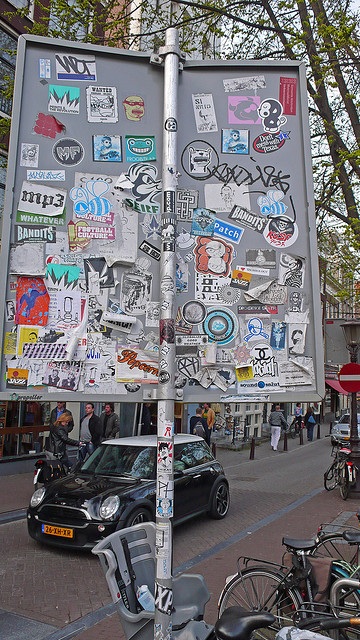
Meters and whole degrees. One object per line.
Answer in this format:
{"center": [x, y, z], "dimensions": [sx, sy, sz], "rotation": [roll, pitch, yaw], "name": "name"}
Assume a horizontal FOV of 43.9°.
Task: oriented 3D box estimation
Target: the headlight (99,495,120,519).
{"center": [-0.965, 2.534, 6.068], "dimensions": [0.266, 0.255, 0.223], "rotation": [3, -11, -11], "name": "headlight"}

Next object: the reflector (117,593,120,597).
{"center": [-0.294, 1.302, 2.119], "dimensions": [0.003, 0.020, 0.021], "rotation": [-4, -12, 24], "name": "reflector"}

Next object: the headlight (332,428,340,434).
{"center": [7.273, 5.154, 20.775], "dimensions": [0.357, 0.209, 0.513], "rotation": [4, 0, 6], "name": "headlight"}

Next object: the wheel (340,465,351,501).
{"center": [4.005, 3.889, 10.760], "dimensions": [0.221, 0.782, 0.272], "rotation": [-3, -11, 20], "name": "wheel"}

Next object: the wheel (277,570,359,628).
{"center": [0.994, 2.046, 3.233], "dimensions": [0.610, 0.419, 0.351], "rotation": [1, -11, 1], "name": "wheel"}

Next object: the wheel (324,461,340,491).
{"center": [3.949, 4.045, 11.605], "dimensions": [0.372, 0.776, 0.862], "rotation": [-2, -11, 17], "name": "wheel"}

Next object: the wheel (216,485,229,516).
{"center": [0.817, 3.514, 8.736], "dimensions": [0.179, 0.570, 0.537], "rotation": [-7, -28, 26], "name": "wheel"}

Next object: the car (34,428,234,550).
{"center": [-0.424, 2.602, 7.989], "dimensions": [1.830, 1.591, 4.194], "rotation": [-7, -14, 26], "name": "car"}

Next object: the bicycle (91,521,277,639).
{"center": [0.042, 1.319, 2.197], "dimensions": [0.812, 0.613, 0.567], "rotation": [-10, -6, 19], "name": "bicycle"}

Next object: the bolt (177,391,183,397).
{"center": [-0.001, 0.282, 1.708], "dimensions": [0.019, 0.021, 0.005], "rotation": [7, -12, -29], "name": "bolt"}

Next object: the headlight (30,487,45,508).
{"center": [-2.145, 2.654, 6.686], "dimensions": [0.193, 0.239, 0.391], "rotation": [5, -11, -18], "name": "headlight"}

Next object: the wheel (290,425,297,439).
{"center": [7.500, 7.364, 29.537], "dimensions": [0.354, 0.837, 0.487], "rotation": [-6, -18, 9], "name": "wheel"}

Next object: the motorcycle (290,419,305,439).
{"center": [7.661, 7.130, 29.179], "dimensions": [0.985, 1.386, 2.111], "rotation": [-5, -9, 20], "name": "motorcycle"}

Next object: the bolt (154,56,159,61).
{"center": [-0.098, -1.093, 1.866], "dimensions": [0.019, 0.022, 0.006], "rotation": [2, -11, -4], "name": "bolt"}
